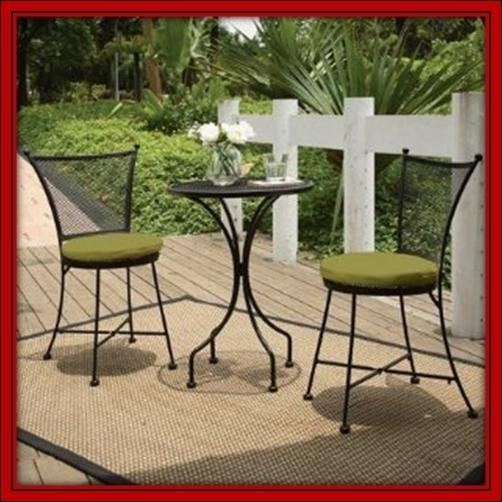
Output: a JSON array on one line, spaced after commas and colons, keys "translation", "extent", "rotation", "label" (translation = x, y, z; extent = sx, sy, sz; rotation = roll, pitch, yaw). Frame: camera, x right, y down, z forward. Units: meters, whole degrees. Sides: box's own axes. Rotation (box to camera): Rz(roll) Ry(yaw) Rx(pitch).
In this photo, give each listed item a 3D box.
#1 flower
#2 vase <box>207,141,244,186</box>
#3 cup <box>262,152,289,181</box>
[{"translation": [-0.135, -0.533, 2.752], "extent": [0.290, 0.347, 0.320], "rotation": [-6, 13, -15], "label": "flower"}, {"translation": [-0.127, -0.447, 2.696], "extent": [0.198, 0.297, 0.200], "rotation": [0, 10, -4], "label": "vase"}, {"translation": [0.124, -0.428, 2.731], "extent": [0.130, 0.131, 0.135], "rotation": [-1, -2, 0], "label": "cup"}]
